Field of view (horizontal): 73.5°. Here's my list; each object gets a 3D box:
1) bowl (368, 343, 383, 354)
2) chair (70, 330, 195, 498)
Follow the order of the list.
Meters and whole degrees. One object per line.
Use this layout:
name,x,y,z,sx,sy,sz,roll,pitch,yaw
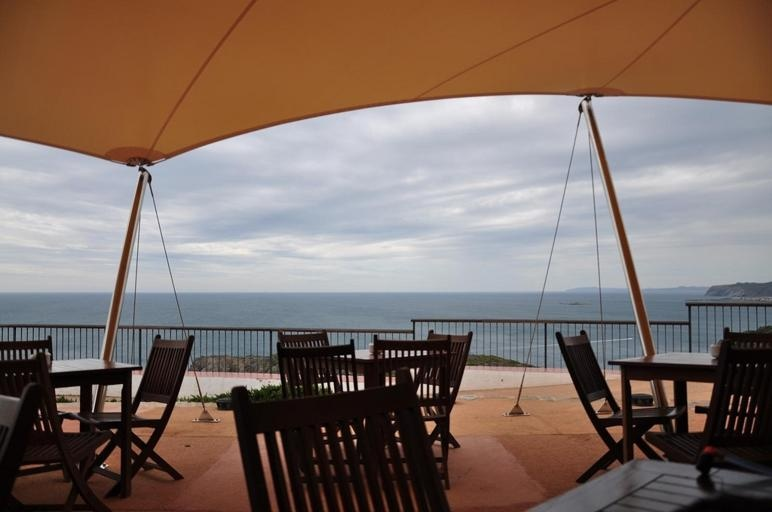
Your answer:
bowl,-0.112,0.889,4.968,0.158,0.111,0.176,0,-7,-1
chair,-2.508,1.465,4.830,1.339,1.458,1.234,2,-12,-14
